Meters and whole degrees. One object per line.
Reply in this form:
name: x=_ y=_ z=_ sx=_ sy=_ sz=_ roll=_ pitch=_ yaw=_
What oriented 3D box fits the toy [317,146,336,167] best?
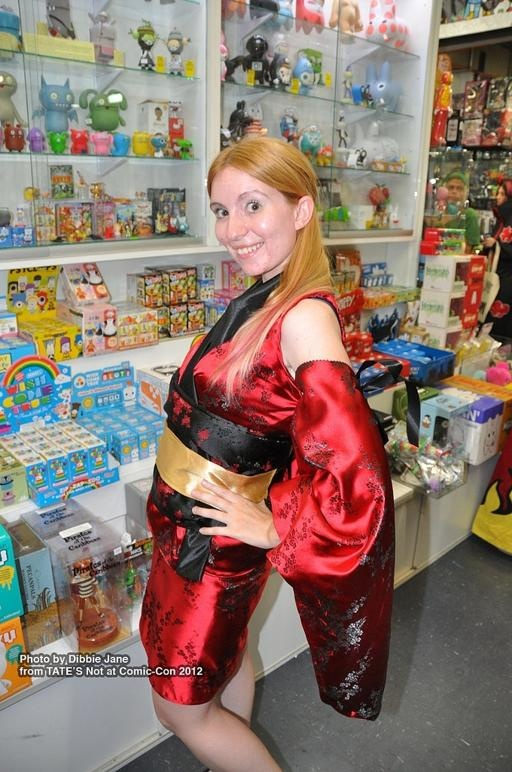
toy: x=0.287 y=-0.962 z=2.268 sx=0.045 sy=0.092 sz=0.090 roll=6 pitch=8 yaw=-1

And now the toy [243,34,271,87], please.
toy: x=0.002 y=-1.140 z=1.882 sx=0.111 sy=0.158 sz=0.056 roll=4 pitch=4 yaw=-2

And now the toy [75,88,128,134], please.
toy: x=-0.465 y=-0.807 z=1.562 sx=0.155 sy=0.138 sz=0.083 roll=-27 pitch=41 yaw=-38

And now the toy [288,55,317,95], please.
toy: x=0.172 y=-1.211 z=2.068 sx=0.089 sy=0.120 sz=0.159 roll=1 pitch=-19 yaw=-2

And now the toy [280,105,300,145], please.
toy: x=0.143 y=-1.044 z=2.124 sx=0.051 sy=0.113 sz=0.083 roll=7 pitch=17 yaw=28

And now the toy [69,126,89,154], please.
toy: x=-0.513 y=-0.696 z=1.530 sx=0.055 sy=0.070 sz=0.049 roll=-6 pitch=16 yaw=-26

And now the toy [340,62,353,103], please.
toy: x=0.396 y=-1.305 z=2.300 sx=0.026 sy=0.157 sz=0.087 roll=10 pitch=17 yaw=30

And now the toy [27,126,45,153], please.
toy: x=-0.588 y=-0.648 z=1.404 sx=0.033 sy=0.060 sz=0.045 roll=19 pitch=51 yaw=9

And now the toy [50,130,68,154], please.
toy: x=-0.544 y=-0.665 z=1.450 sx=0.036 sy=0.051 sz=0.049 roll=30 pitch=43 yaw=22

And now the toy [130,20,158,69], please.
toy: x=-0.348 y=-1.037 z=1.643 sx=0.083 sy=0.146 sz=0.117 roll=-2 pitch=15 yaw=-11

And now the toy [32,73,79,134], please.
toy: x=-0.544 y=-0.758 z=1.437 sx=0.044 sy=0.150 sz=0.121 roll=9 pitch=16 yaw=29

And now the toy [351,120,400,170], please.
toy: x=0.545 y=-1.119 z=2.484 sx=0.227 sy=0.201 sz=0.161 roll=-18 pitch=49 yaw=-24

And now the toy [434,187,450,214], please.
toy: x=0.958 y=-0.956 z=2.741 sx=0.060 sy=0.131 sz=0.027 roll=5 pitch=15 yaw=13

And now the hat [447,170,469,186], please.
hat: x=1.032 y=-1.056 z=2.714 sx=0.075 sy=0.056 sz=0.074 roll=-17 pitch=34 yaw=-32

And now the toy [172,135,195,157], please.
toy: x=-0.248 y=-0.779 z=1.758 sx=0.069 sy=0.067 sz=0.062 roll=13 pitch=41 yaw=11

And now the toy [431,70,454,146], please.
toy: x=0.951 y=-1.389 z=2.678 sx=0.070 sy=0.227 sz=0.061 roll=14 pitch=34 yaw=20

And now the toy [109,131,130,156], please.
toy: x=-0.421 y=-0.735 z=1.626 sx=0.056 sy=0.074 sz=0.075 roll=1 pitch=17 yaw=-9

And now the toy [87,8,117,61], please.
toy: x=-0.445 y=-0.995 z=1.525 sx=0.069 sy=0.151 sz=0.125 roll=-3 pitch=15 yaw=-17
